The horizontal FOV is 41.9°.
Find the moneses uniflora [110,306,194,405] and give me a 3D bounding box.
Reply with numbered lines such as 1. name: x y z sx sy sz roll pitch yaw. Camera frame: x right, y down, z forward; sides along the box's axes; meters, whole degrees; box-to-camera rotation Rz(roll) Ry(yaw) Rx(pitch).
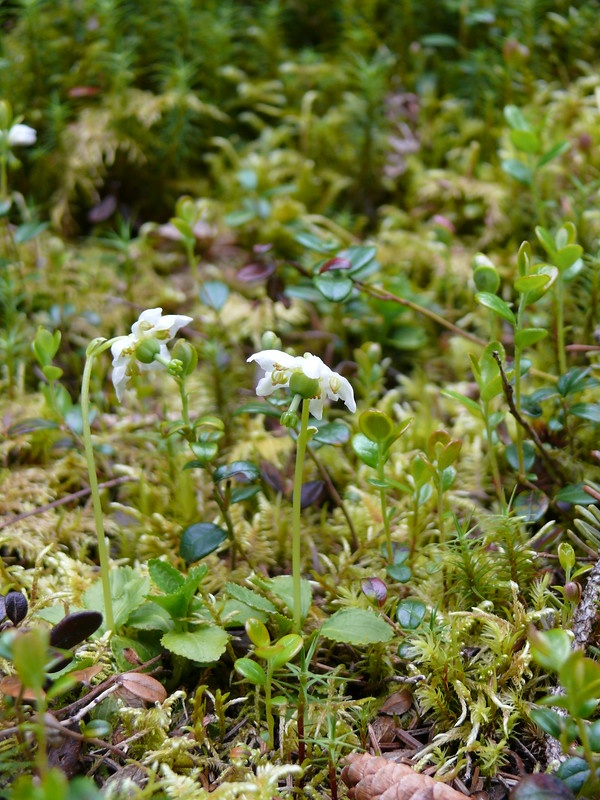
1. moneses uniflora: -0.272 -0.090 1.455 0.137 0.147 0.119 -1 38 -3
